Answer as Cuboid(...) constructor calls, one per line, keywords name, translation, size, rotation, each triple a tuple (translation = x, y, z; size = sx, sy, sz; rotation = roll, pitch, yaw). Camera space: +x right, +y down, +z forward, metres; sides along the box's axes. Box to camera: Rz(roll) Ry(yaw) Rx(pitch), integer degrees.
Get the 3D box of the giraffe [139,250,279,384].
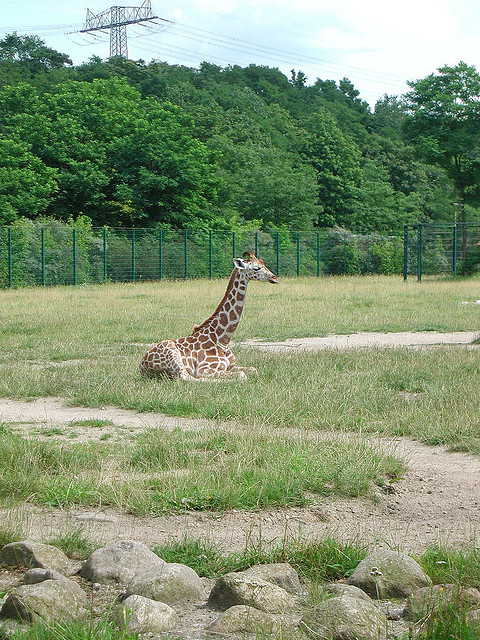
Cuboid(name="giraffe", translation=(-0.318, -0.073, 14.117), size=(1.056, 1.226, 1.725), rotation=(2, 4, 32))
